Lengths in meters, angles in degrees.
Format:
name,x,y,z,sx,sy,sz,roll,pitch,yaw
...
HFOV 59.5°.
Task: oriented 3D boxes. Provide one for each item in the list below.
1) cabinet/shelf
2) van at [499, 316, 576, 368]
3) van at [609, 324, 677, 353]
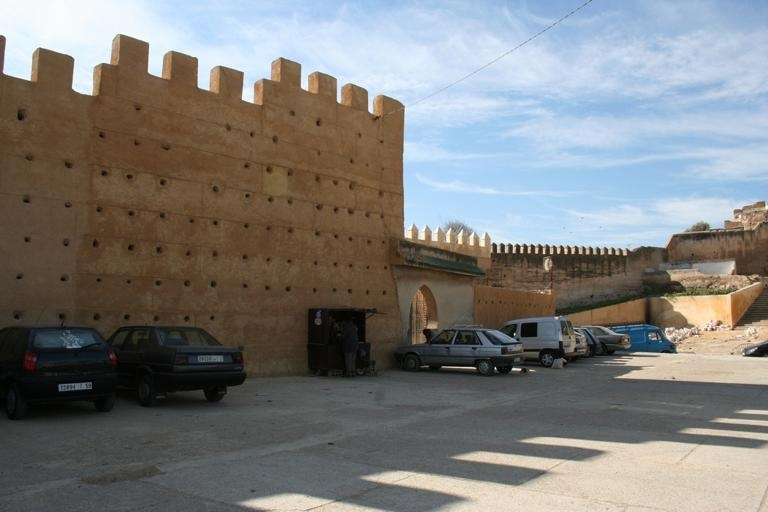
name,x,y,z,sx,sy,sz,roll,pitch,yaw
cabinet/shelf,-1.286,2.886,22.959,2.092,2.124,2.257,-3,-7,41
van,6.255,3.391,27.322,2.506,1.302,1.776,0,-4,29
van,14.169,4.568,36.562,2.928,1.604,1.703,-6,-9,22
